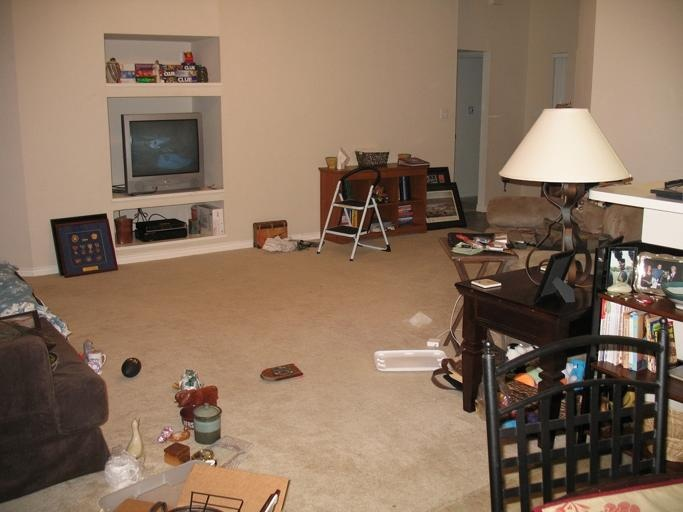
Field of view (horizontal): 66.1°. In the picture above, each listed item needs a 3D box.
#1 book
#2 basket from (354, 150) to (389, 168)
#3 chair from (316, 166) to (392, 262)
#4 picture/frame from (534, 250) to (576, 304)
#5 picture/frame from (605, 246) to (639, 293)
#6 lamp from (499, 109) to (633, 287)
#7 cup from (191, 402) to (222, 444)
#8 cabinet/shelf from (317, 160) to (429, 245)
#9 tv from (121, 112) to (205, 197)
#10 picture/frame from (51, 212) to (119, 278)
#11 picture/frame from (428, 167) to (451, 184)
[{"bbox_3d":[1.291,0.336,2.291,0.360,0.326,0.212,-6,9,-39],"label":"book"},{"bbox_3d":[0.413,-1.282,6.932,0.373,0.226,0.337,-8,12,-19],"label":"basket"},{"bbox_3d":[0.177,-0.547,6.498,0.817,1.033,0.828,8,15,25],"label":"chair"},{"bbox_3d":[1.129,0.103,2.714,0.267,0.255,0.150,-9,15,-43],"label":"picture/frame"},{"bbox_3d":[1.346,0.074,2.530,0.135,0.237,0.020,2,-3,42],"label":"picture/frame"},{"bbox_3d":[1.092,-0.270,2.667,0.554,0.929,0.491,-5,11,-2],"label":"lamp"},{"bbox_3d":[-0.728,0.897,2.848,0.162,0.175,0.170,-2,1,0],"label":"cup"},{"bbox_3d":[0.667,-0.716,7.312,1.436,0.896,0.479,0,-8,34],"label":"cabinet/shelf"},{"bbox_3d":[-2.093,-1.188,6.054,0.916,0.851,0.480,-8,18,-32],"label":"tv"},{"bbox_3d":[-2.746,-0.104,5.556,0.616,0.679,0.069,-13,-6,-31],"label":"picture/frame"},{"bbox_3d":[1.455,-1.209,7.862,0.292,0.277,0.058,4,-5,-17],"label":"picture/frame"}]
